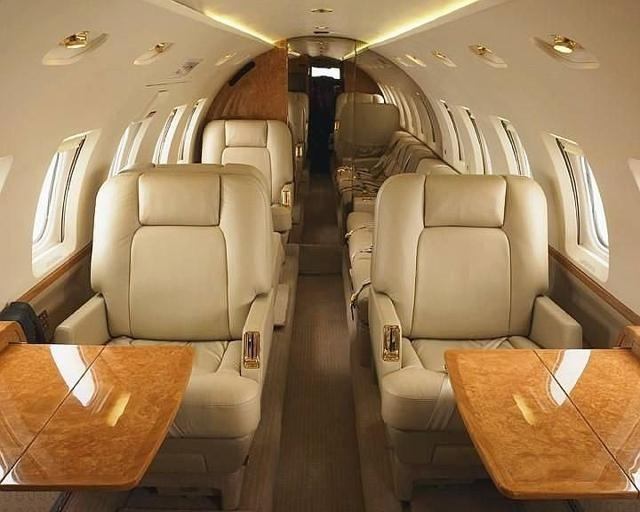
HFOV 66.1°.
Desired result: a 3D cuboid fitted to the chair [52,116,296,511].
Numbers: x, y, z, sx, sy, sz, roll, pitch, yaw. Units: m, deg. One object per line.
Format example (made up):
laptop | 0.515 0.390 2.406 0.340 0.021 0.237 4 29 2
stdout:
chair | -0.784 0.256 3.268 1.040 1.717 2.161 -3 13 -1
